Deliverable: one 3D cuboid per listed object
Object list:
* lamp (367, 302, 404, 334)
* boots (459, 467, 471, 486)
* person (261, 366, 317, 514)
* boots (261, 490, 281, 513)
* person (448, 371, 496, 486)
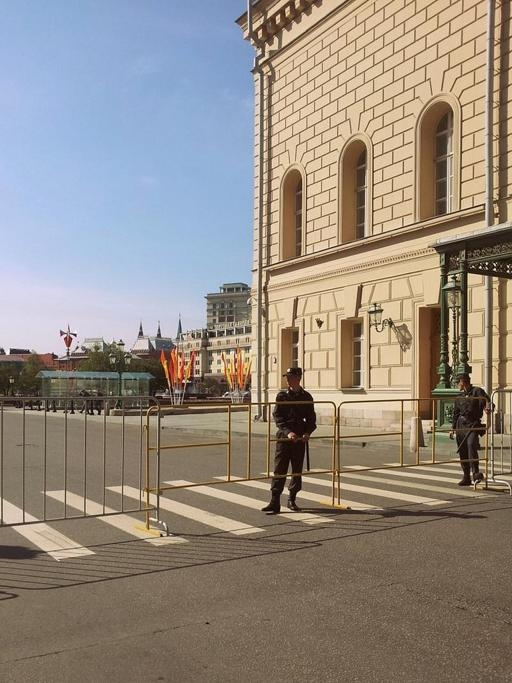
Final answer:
[{"bbox_3d":[3.805,-0.724,23.812,0.351,0.895,1.661,1,-2,-19],"label":"lamp"},{"bbox_3d":[3.116,2.021,11.764,0.176,0.274,0.266,0,-1,17],"label":"boots"},{"bbox_3d":[0.422,1.211,9.875,0.618,1.750,1.226,0,-1,4],"label":"person"},{"bbox_3d":[0.173,1.909,9.405,0.226,0.254,0.385,0,-2,0],"label":"boots"},{"bbox_3d":[3.272,1.341,12.058,0.562,1.669,1.136,0,-1,14],"label":"person"}]
